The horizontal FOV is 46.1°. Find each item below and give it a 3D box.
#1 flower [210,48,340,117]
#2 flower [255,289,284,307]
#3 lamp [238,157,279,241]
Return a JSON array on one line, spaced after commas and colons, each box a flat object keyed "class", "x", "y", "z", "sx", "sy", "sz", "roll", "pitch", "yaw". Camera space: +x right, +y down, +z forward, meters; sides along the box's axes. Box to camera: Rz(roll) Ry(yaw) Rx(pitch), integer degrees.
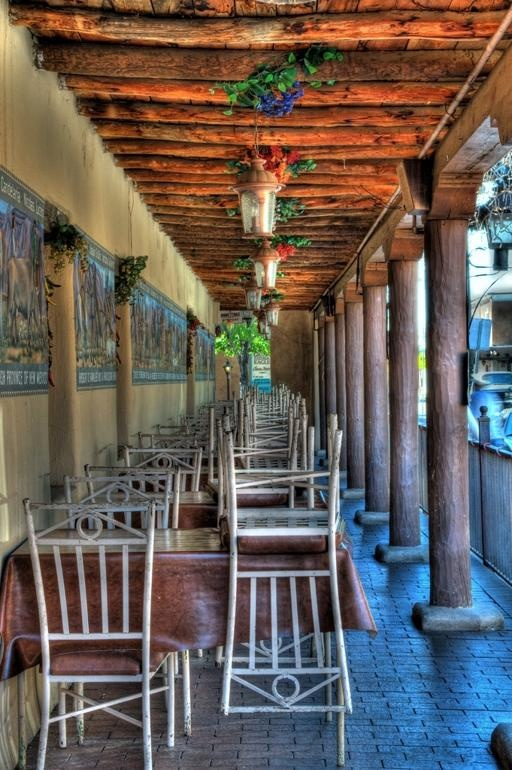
[{"class": "flower", "x": 0.114, "y": -1.593, "z": 3.180, "sx": 0.491, "sy": 0.229, "sz": 0.308, "roll": -4, "pitch": 23, "yaw": 10}, {"class": "flower", "x": 0.300, "y": -1.748, "z": 12.053, "sx": 0.494, "sy": 0.512, "sz": 0.536, "roll": -4, "pitch": 0, "yaw": -2}, {"class": "lamp", "x": 0.016, "y": -1.163, "z": 3.650, "sx": 0.271, "sy": 0.531, "sz": 0.268, "roll": 0, "pitch": -6, "yaw": -1}]
